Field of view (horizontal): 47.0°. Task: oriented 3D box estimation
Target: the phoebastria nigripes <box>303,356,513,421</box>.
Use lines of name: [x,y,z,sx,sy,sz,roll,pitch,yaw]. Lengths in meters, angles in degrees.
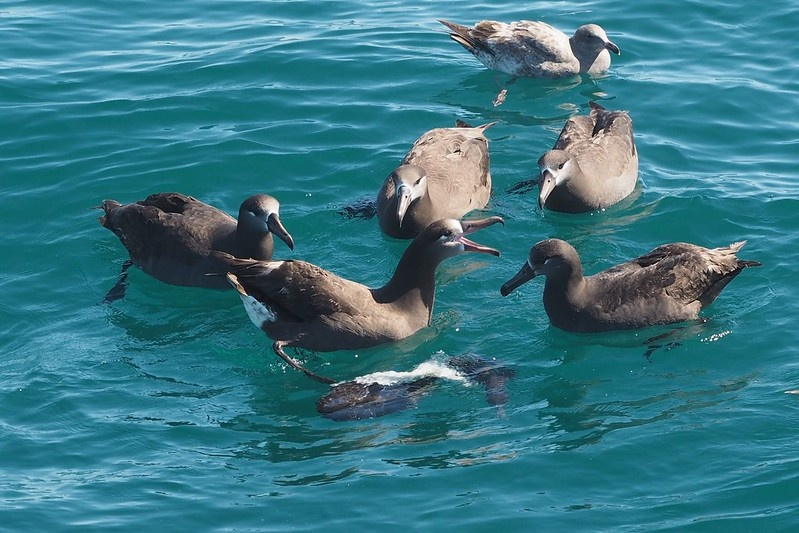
phoebastria nigripes: [0.200,1.939,14.798,3.148,0.279,1.044,-6,44,-13]
